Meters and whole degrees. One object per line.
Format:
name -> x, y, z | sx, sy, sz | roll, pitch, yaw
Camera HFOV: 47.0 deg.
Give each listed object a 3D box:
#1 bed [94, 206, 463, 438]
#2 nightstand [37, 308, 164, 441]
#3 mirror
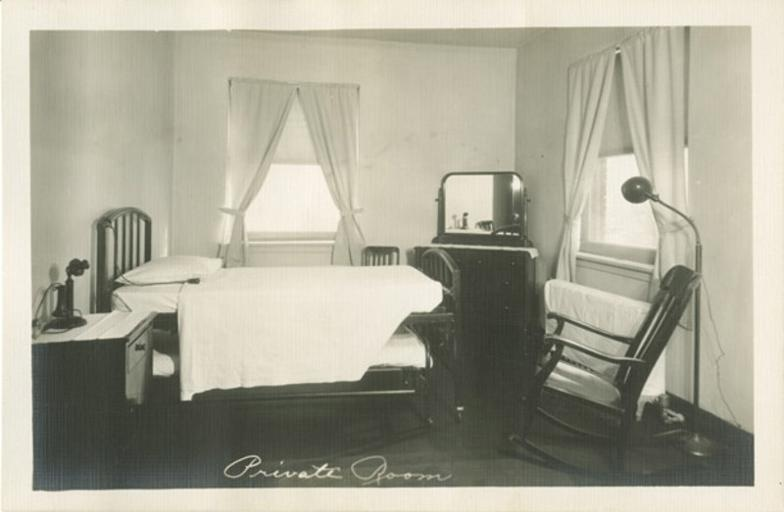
bed -> -0.397, 0.168, 3.470 | 1.157, 0.827, 0.741 | -2, 5, -7
nightstand -> -1.070, 0.413, 3.326 | 0.310, 0.447, 0.461 | 1, 4, -12
mirror -> 0.318, -0.168, 3.226 | 0.345, 0.262, 0.051 | -1, 8, -5
